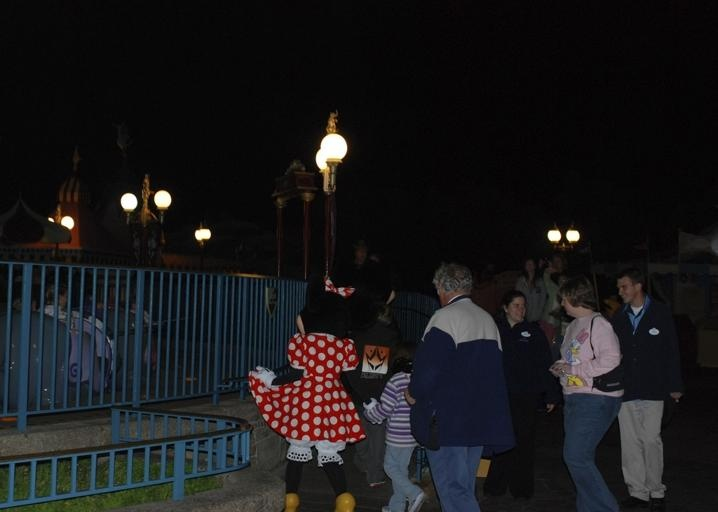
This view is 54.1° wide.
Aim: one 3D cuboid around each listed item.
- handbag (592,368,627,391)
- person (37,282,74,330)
[{"bbox_3d":[2.533,1.272,7.129,0.261,0.293,0.204,7,-4,17],"label":"handbag"},{"bbox_3d":[-3.991,0.627,9.239,0.310,0.489,0.758,3,-6,-31],"label":"person"}]
